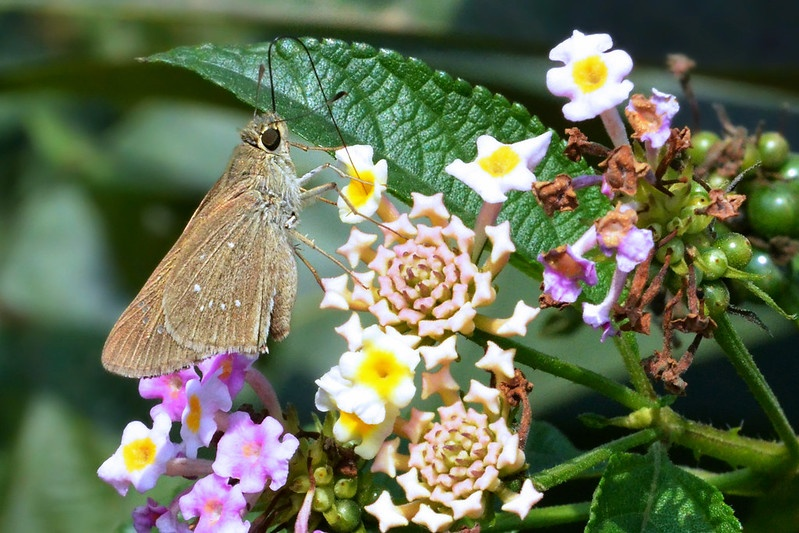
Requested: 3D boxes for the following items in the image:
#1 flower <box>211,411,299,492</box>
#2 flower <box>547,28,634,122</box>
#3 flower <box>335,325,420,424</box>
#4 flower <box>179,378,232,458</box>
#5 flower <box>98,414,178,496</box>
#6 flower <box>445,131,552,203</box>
[{"bbox_3d":[-0.490,0.620,2.683,0.248,0.263,0.070,15,-14,11],"label":"flower"},{"bbox_3d":[0.614,-0.636,2.660,0.267,0.293,0.202,-10,9,-8],"label":"flower"},{"bbox_3d":[-0.050,0.364,2.671,0.315,0.139,0.332,-4,48,23],"label":"flower"},{"bbox_3d":[-0.688,0.514,2.778,0.224,0.246,0.071,41,15,34],"label":"flower"},{"bbox_3d":[-0.873,0.701,2.855,0.104,0.286,0.257,25,1,-41],"label":"flower"},{"bbox_3d":[0.343,-0.310,2.736,0.344,0.143,0.403,1,41,9],"label":"flower"}]
